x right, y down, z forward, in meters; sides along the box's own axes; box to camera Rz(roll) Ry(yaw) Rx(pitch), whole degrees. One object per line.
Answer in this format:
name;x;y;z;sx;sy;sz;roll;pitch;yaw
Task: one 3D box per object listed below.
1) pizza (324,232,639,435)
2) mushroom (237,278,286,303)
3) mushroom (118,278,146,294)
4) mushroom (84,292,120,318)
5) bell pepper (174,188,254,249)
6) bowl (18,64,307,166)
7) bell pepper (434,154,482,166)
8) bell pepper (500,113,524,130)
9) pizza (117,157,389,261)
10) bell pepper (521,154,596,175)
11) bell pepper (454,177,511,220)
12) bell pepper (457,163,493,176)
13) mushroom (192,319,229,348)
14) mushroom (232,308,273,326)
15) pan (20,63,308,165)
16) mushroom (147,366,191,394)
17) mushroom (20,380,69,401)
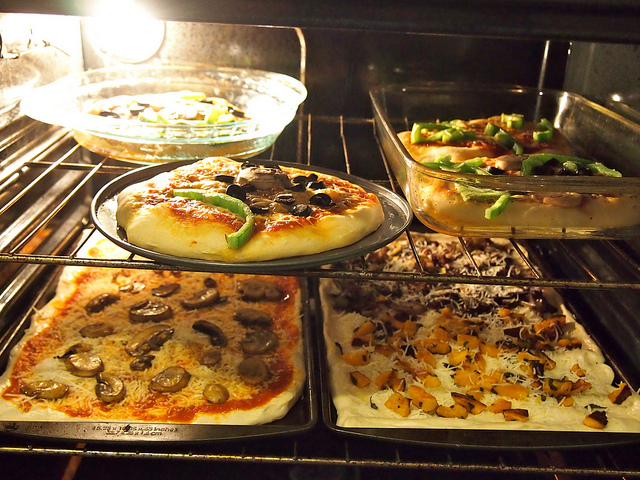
pizza;0.372;0.259;1.334;0.709;0.062;0.567;0;28;-3
mushroom;-0.163;0.140;1.463;0.103;0.019;0.075;5;17;2
mushroom;-0.514;0.121;1.451;0.050;0.009;0.039;6;26;9
mushroom;-0.564;0.168;1.367;0.056;0.016;0.064;6;31;22
bell pepper;-0.214;-0.041;1.076;0.195;0.068;0.239;-14;22;-42
bowl;-0.404;-0.385;1.566;0.719;0.192;0.603;1;29;-1
bell pepper;0.367;-0.213;1.394;0.070;0.014;0.065;17;23;30
bell pepper;0.620;-0.390;1.712;0.074;0.022;0.073;16;31;38
pizza;-0.153;-0.085;1.166;0.589;0.090;0.399;4;29;4
bell pepper;0.589;-0.202;1.353;0.219;0.029;0.089;-7;31;-15
bell pepper;0.345;-0.084;1.138;0.119;0.072;0.028;8;39;9
bell pepper;0.374;-0.171;1.265;0.078;0.013;0.036;11;13;-4
mushroom;-0.263;0.228;1.291;0.093;0.023;0.049;33;62;21
mushroom;-0.170;0.194;1.358;0.082;0.016;0.051;8;19;8
pan;-0.471;-0.371;1.513;0.810;0.191;0.546;-11;21;-30
mushroom;-0.337;0.306;1.168;0.078;0.015;0.048;-11;32;-23
mushroom;-0.586;0.316;1.123;0.089;0.015;0.039;2;36;0
